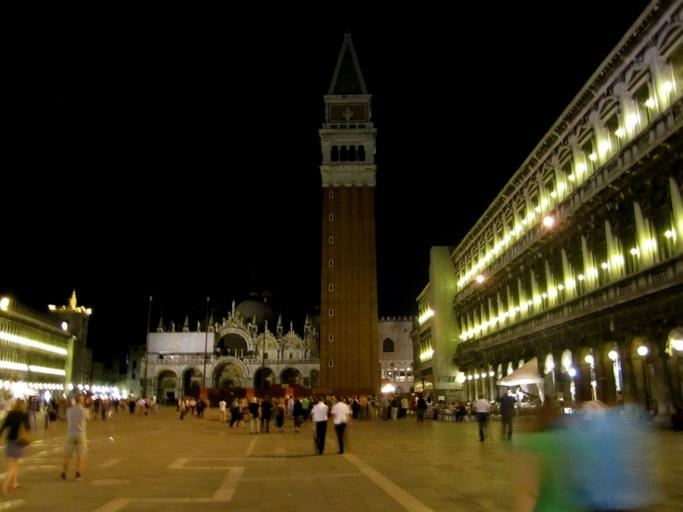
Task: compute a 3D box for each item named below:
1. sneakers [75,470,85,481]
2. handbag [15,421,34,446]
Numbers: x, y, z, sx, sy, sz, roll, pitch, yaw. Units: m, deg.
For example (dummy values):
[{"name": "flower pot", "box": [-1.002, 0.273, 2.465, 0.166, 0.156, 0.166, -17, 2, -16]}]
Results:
[{"name": "sneakers", "box": [-6.990, 5.898, 16.083, 0.185, 0.233, 0.441, 7, -22, -23]}, {"name": "handbag", "box": [-8.227, 4.660, 15.550, 0.132, 0.495, 0.523, -13, 0, 5]}]
